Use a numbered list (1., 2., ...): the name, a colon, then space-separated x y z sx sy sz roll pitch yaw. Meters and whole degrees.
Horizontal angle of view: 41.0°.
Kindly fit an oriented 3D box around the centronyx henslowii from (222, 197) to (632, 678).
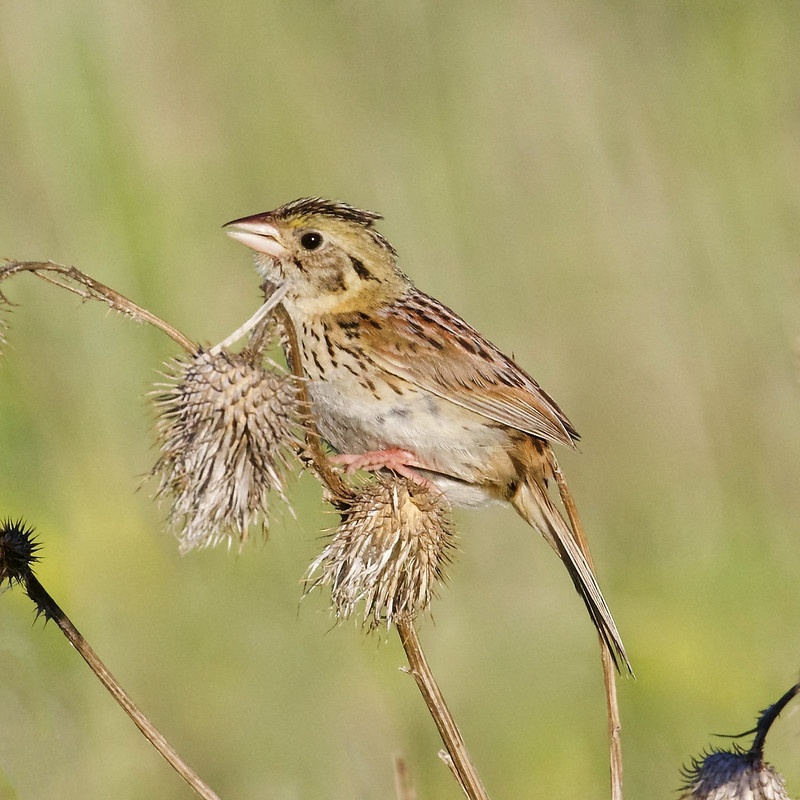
1. centronyx henslowii: 0.197 -0.096 4.280 1.250 1.698 1.937 5 -77 31
